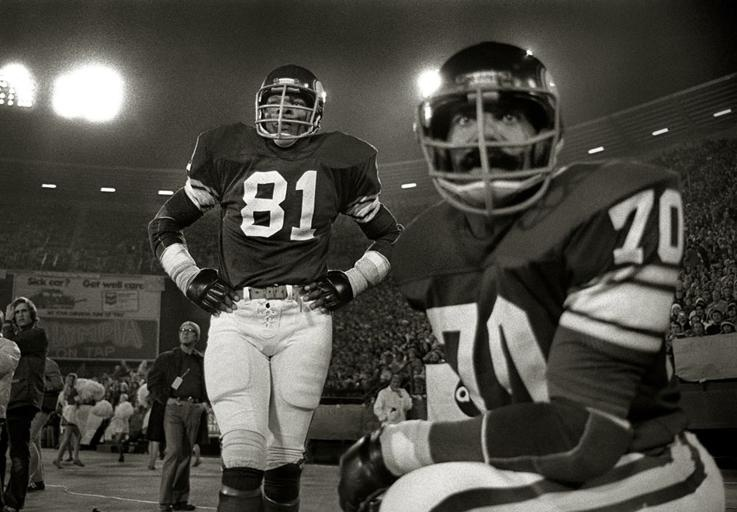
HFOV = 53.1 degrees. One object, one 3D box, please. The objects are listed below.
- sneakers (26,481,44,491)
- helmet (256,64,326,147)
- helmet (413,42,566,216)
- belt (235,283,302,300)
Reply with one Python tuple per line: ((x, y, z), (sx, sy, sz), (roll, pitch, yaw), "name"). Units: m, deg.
((-3.325, 2.300, 7.378), (0.140, 0.061, 0.080), (-13, -6, 17), "sneakers")
((-0.459, -0.809, 4.070), (0.363, 0.447, 0.464), (2, 1, 8), "helmet")
((0.461, -0.430, 2.512), (0.456, 0.505, 0.582), (0, 9, 15), "helmet")
((-0.493, 0.187, 3.703), (0.317, 0.079, 0.094), (2, -3, -12), "belt")
